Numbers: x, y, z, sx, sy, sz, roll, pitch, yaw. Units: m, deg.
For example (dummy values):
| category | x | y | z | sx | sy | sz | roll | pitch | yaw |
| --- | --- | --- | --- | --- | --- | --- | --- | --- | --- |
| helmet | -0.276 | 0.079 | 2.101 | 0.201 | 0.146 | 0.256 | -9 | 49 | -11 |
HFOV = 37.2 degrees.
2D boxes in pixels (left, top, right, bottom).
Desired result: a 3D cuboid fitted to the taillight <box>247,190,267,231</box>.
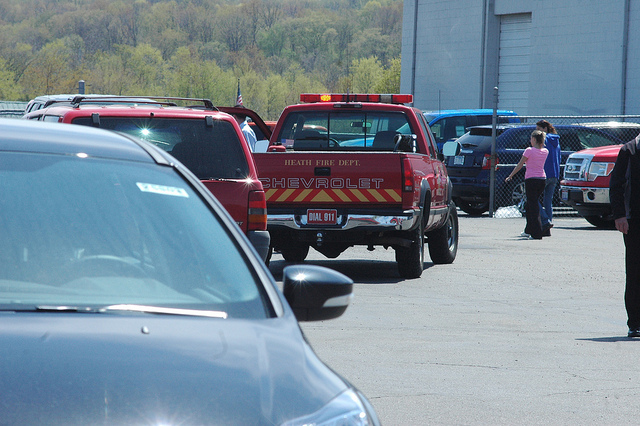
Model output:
| category | x | y | z | sx | sy | sz | roll | pitch | yaw |
| --- | --- | --- | --- | --- | --- | --- | --- | --- | --- |
| taillight | -0.658 | -0.024 | 9.684 | 0.193 | 0.416 | 0.110 | 0 | 6 | -15 |

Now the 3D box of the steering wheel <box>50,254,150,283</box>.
| category | x | y | z | sx | sy | sz | roll | pitch | yaw |
| --- | --- | --- | --- | --- | --- | --- | --- | --- | --- |
| steering wheel | -1.266 | 0.329 | 5.422 | 0.635 | 0.143 | 0.634 | -1 | -2 | 0 |

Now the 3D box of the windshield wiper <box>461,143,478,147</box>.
| category | x | y | z | sx | sy | sz | roll | pitch | yaw |
| --- | --- | --- | --- | --- | --- | --- | --- | --- | --- |
| windshield wiper | 3.200 | -1.472 | 20.755 | 0.372 | 0.063 | 0.100 | 6 | 8 | 36 |

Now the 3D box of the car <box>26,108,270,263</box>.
| category | x | y | z | sx | sy | sz | roll | pitch | yaw |
| --- | --- | --- | --- | --- | --- | --- | --- | --- | --- |
| car | -1.243 | -0.362 | 9.407 | 1.275 | 1.048 | 2.399 | -2 | 10 | -13 |

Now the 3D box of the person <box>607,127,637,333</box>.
| category | x | y | z | sx | sy | sz | roll | pitch | yaw |
| --- | --- | --- | --- | --- | --- | --- | --- | --- | --- |
| person | 2.949 | 0.215 | 9.368 | 0.307 | 1.838 | 0.459 | 3 | 6 | 12 |

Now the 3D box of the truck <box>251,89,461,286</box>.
| category | x | y | z | sx | sy | sz | roll | pitch | yaw |
| --- | --- | --- | --- | --- | --- | --- | --- | --- | --- |
| truck | 0.671 | -0.648 | 13.234 | 1.847 | 1.565 | 3.347 | 1 | 5 | 12 |

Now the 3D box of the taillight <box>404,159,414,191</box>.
| category | x | y | z | sx | sy | sz | roll | pitch | yaw |
| --- | --- | --- | --- | --- | --- | --- | --- | --- | --- |
| taillight | 1.036 | -0.452 | 11.507 | 0.081 | 0.380 | 0.162 | 6 | 8 | 36 |
